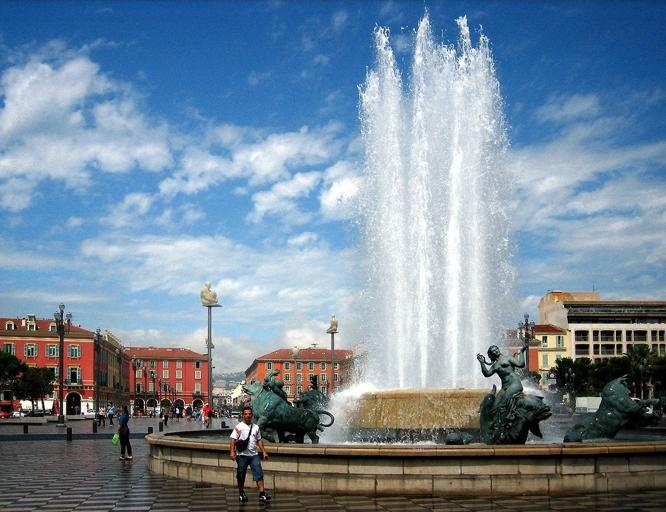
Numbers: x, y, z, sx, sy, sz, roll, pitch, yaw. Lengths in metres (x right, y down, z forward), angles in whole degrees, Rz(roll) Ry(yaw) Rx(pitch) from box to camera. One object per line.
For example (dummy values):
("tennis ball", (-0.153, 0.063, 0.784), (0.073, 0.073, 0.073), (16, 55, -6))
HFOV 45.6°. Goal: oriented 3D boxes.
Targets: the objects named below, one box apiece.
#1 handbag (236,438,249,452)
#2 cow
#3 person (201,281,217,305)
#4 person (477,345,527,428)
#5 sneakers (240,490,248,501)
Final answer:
("handbag", (-1.789, 3.696, 15.594), (0.208, 0.264, 0.146), (19, 6, 21))
("cow", (-1.122, 3.692, 18.914), (2.320, 1.462, 0.672), (12, -3, 0))
("person", (-5.354, 1.632, 34.418), (0.593, 1.043, 0.930), (1, -10, -12))
("person", (3.900, 2.932, 18.209), (1.025, 1.802, 1.391), (-3, -9, 11))
("sneakers", (-1.794, 4.818, 15.957), (0.101, 0.142, 0.329), (2, 1, 0))
